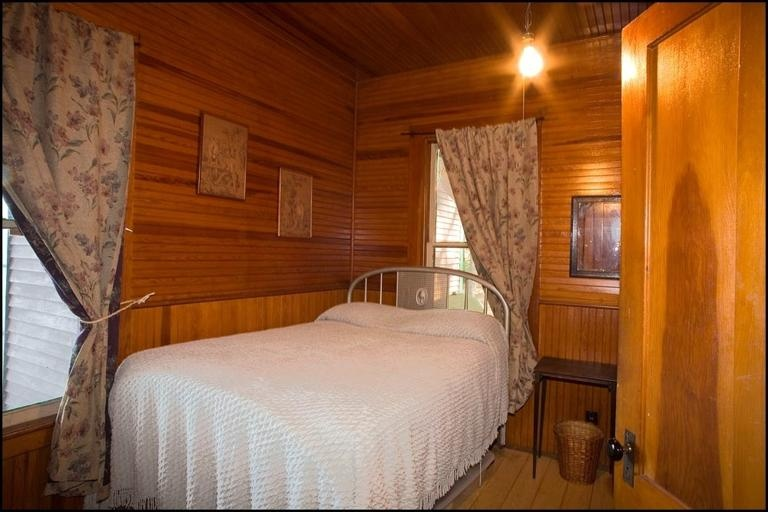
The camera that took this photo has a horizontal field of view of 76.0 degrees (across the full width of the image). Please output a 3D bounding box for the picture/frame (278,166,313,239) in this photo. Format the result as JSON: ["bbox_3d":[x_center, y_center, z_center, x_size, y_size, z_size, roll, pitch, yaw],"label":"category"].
[{"bbox_3d":[-0.790,-0.463,4.373,0.018,0.589,0.445,5,6,29],"label":"picture/frame"}]

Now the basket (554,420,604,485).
[{"bbox_3d":[1.456,1.491,3.813,0.394,0.399,0.408,0,-6,8],"label":"basket"}]

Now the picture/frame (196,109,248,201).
[{"bbox_3d":[-1.221,-0.754,3.777,0.441,0.598,0.020,15,18,18],"label":"picture/frame"}]

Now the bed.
[{"bbox_3d":[-0.100,0.800,2.983,1.349,0.865,1.723,-3,-7,35],"label":"bed"}]
